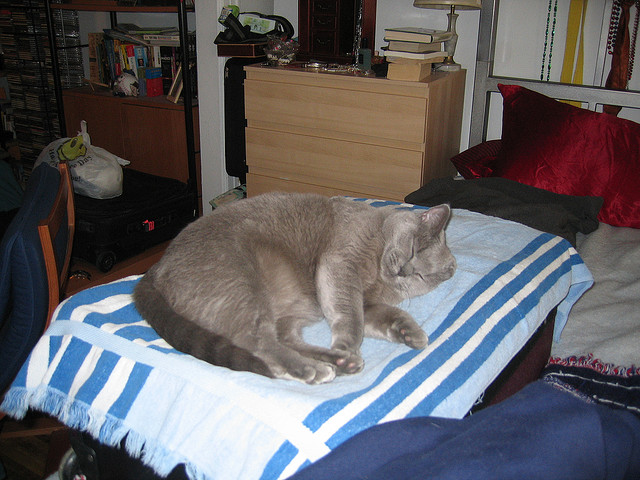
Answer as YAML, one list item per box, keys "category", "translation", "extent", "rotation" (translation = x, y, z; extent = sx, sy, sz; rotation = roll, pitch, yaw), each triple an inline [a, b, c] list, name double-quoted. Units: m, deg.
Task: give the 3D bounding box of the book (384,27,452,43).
- category: "book"
  translation: [0.510, -1.009, 2.417]
  extent: [0.216, 0.044, 0.207]
  rotation: [11, 21, 25]

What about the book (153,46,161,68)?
- category: "book"
  translation: [-1.076, -1.200, 3.200]
  extent: [0.053, 0.132, 0.016]
  rotation: [16, 24, 23]

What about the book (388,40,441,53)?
- category: "book"
  translation: [0.462, -0.941, 2.389]
  extent: [0.247, 0.053, 0.130]
  rotation: [4, 20, -3]

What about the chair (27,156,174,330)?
- category: "chair"
  translation: [-0.874, 0.001, 1.918]
  extent: [0.455, 0.496, 0.559]
  rotation: [-14, 37, -26]

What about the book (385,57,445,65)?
- category: "book"
  translation: [0.481, -0.882, 2.417]
  extent: [0.139, 0.021, 0.136]
  rotation: [10, 18, 29]

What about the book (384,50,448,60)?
- category: "book"
  translation: [0.498, -0.908, 2.407]
  extent: [0.161, 0.020, 0.157]
  rotation: [9, 16, 32]

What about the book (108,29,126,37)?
- category: "book"
  translation: [-1.350, -1.369, 3.225]
  extent: [0.078, 0.016, 0.071]
  rotation: [8, 15, -7]

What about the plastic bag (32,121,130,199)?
- category: "plastic bag"
  translation: [-1.334, -0.448, 2.703]
  extent: [0.511, 0.183, 0.392]
  rotation: [41, 57, 18]

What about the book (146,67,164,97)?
- category: "book"
  translation: [-1.103, -1.052, 3.222]
  extent: [0.086, 0.200, 0.153]
  rotation: [15, 26, 24]

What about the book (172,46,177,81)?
- category: "book"
  translation: [-0.947, -1.146, 3.164]
  extent: [0.022, 0.203, 0.050]
  rotation: [-6, 25, -28]

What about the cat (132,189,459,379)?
- category: "cat"
  translation: [-0.066, 0.158, 1.302]
  extent: [0.701, 0.267, 0.513]
  rotation: [2, 23, -27]

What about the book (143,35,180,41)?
- category: "book"
  translation: [-1.029, -1.292, 3.118]
  extent: [0.278, 0.032, 0.053]
  rotation: [14, 22, 25]

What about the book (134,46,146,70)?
- category: "book"
  translation: [-1.199, -1.208, 3.220]
  extent: [0.051, 0.118, 0.130]
  rotation: [-11, 29, -14]

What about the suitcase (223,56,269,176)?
- category: "suitcase"
  translation: [-0.470, -0.733, 2.921]
  extent: [0.222, 0.708, 0.136]
  rotation: [3, 23, -8]

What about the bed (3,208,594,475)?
- category: "bed"
  translation: [0.126, 0.243, 1.212]
  extent: [0.980, 0.215, 0.801]
  rotation: [-27, 36, -36]

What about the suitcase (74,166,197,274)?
- category: "suitcase"
  translation: [-1.013, -0.135, 2.715]
  extent: [0.645, 0.225, 0.620]
  rotation: [-14, 28, -34]

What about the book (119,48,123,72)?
- category: "book"
  translation: [-1.342, -1.205, 3.272]
  extent: [0.019, 0.152, 0.046]
  rotation: [-5, 25, -26]

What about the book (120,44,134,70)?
- category: "book"
  translation: [-1.302, -1.220, 3.245]
  extent: [0.035, 0.119, 0.129]
  rotation: [-20, 29, -34]

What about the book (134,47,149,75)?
- category: "book"
  translation: [-1.182, -1.216, 3.319]
  extent: [0.120, 0.183, 0.147]
  rotation: [-6, 27, -8]

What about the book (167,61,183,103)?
- category: "book"
  translation: [-0.921, -1.000, 3.088]
  extent: [0.023, 0.281, 0.194]
  rotation: [12, 50, -29]

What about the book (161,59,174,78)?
- category: "book"
  translation: [-1.004, -1.130, 3.203]
  extent: [0.102, 0.123, 0.013]
  rotation: [17, 32, 21]

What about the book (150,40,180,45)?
- category: "book"
  translation: [-1.005, -1.264, 3.119]
  extent: [0.224, 0.036, 0.042]
  rotation: [15, 23, 28]

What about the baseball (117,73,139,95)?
- category: "baseball"
  translation: [-1.268, -1.028, 3.208]
  extent: [0.133, 0.128, 0.069]
  rotation: [-2, 23, -19]
